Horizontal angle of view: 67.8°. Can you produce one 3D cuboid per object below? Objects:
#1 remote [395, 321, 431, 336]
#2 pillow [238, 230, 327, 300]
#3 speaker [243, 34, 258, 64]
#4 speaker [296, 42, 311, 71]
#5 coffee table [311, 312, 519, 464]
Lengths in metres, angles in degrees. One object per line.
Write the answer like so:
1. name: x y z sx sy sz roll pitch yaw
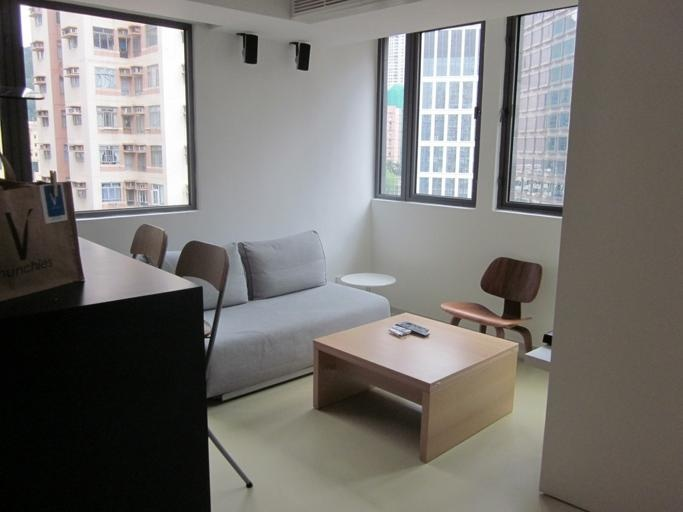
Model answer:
1. remote: 0.541 0.527 3.692 0.164 0.037 0.102 18 16 41
2. pillow: -0.496 0.087 4.599 0.803 0.544 0.286 -12 12 -32
3. speaker: -0.798 -1.846 4.540 0.155 0.241 0.122 -7 16 -29
4. speaker: -0.343 -1.915 4.888 0.220 0.250 0.116 -11 18 -38
5. coffee table: 0.435 0.722 3.350 0.872 0.440 0.857 14 18 38
